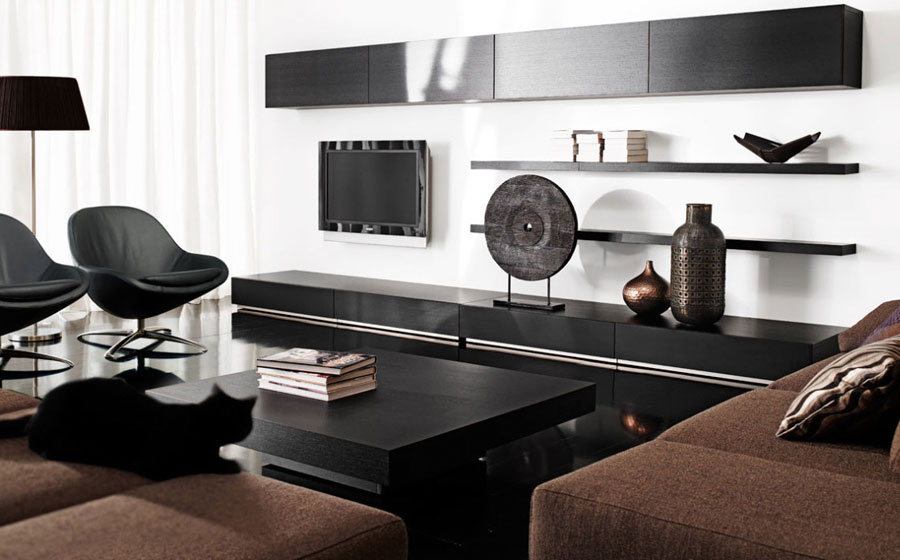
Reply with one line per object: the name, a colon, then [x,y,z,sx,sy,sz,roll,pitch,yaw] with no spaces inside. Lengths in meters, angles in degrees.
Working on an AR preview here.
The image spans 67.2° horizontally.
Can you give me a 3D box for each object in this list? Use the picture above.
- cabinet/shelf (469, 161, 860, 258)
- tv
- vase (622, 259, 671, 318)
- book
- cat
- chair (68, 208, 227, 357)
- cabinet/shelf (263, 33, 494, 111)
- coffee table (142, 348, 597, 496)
cabinet/shelf: [1.546,-0.530,4.894,2.466,0.635,0.473,5,13,28]
tv: [-0.859,-0.806,6.373,1.221,0.912,0.447,-4,8,-42]
vase: [1.419,0.072,4.823,0.377,0.367,0.357,-1,4,-28]
book: [-0.635,0.433,3.130,0.370,0.100,0.275,2,3,30]
cat: [-1.035,0.526,2.340,0.232,0.297,0.746,-21,-30,37]
chair: [-2.412,-0.002,5.285,1.125,0.931,1.054,9,9,25]
cabinet/shelf: [-0.589,-1.798,6.037,2.522,0.466,0.444,8,10,32]
coffee table: [-0.036,0.589,2.956,1.131,0.197,0.991,3,5,40]
